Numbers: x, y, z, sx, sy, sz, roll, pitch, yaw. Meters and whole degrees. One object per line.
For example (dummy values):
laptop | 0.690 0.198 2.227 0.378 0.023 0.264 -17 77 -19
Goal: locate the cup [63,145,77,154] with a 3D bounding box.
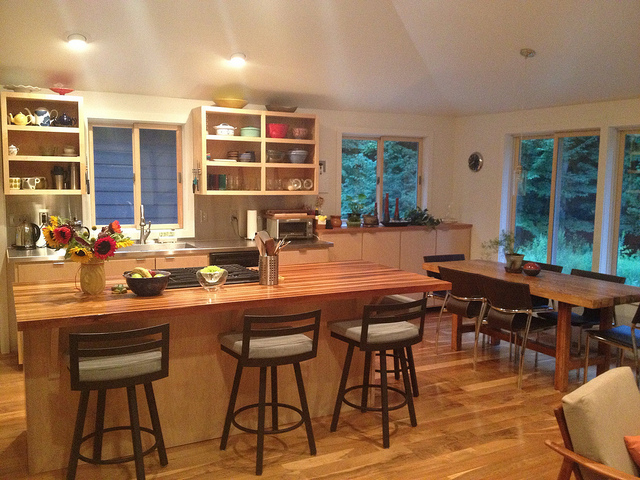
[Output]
cup | -2.750 -0.988 5.320 0.144 0.109 0.138 0 1 0

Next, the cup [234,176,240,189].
cup | -1.028 -0.702 5.972 0.079 0.131 0.038 -5 11 -33

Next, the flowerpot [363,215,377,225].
flowerpot | 0.719 -0.294 6.917 0.140 0.099 0.141 -8 13 -43

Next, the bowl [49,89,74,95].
bowl | -2.806 -1.608 5.202 0.137 0.048 0.135 0 9 0

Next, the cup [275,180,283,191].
cup | -0.525 -0.703 6.181 0.097 0.135 0.065 0 9 -6

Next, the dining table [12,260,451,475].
dining table | -0.781 0.934 3.761 2.652 1.162 1.244 -4 10 -32

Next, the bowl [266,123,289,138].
bowl | -0.593 -1.418 6.201 0.232 0.203 0.339 -8 12 -44

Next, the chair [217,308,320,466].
chair | -0.355 1.007 3.549 0.763 1.088 0.728 -1 10 -12

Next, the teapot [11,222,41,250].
teapot | -3.166 -0.037 5.191 0.304 0.324 0.241 3 2 -31

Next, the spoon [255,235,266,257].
spoon | -0.468 0.041 3.814 0.051 0.214 0.038 -13 -12 12

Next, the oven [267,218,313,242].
oven | -0.375 -0.134 6.137 0.592 0.282 0.333 1 9 -4

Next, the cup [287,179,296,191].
cup | -0.365 -0.712 6.227 0.091 0.128 0.057 -7 14 -39

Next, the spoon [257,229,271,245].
spoon | -0.484 -0.025 4.137 0.092 0.199 0.055 -19 -34 2

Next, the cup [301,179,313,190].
cup | -0.157 -0.721 6.312 0.111 0.123 0.117 3 6 0

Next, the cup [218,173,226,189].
cup | -1.193 -0.707 5.857 0.090 0.168 0.063 0 10 -7

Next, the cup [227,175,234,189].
cup | -1.107 -0.707 5.981 0.078 0.137 0.102 0 9 -9

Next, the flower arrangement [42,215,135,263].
flower arrangement | -1.696 -0.003 3.492 0.455 0.260 0.398 9 4 -18

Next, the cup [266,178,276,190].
cup | -0.643 -0.713 6.168 0.143 0.126 0.078 -8 13 -44

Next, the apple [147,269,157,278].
apple | -1.233 0.251 3.531 0.040 0.036 0.039 6 13 15

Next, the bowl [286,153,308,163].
bowl | -0.286 -1.049 6.261 0.160 0.098 0.161 0 5 0

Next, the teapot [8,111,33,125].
teapot | -3.149 -1.272 5.073 0.206 0.142 0.131 3 2 -11

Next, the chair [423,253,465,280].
chair | 1.580 0.271 6.103 0.366 0.499 0.365 -5 9 -35

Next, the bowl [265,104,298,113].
bowl | -0.504 -1.713 6.241 0.364 0.140 0.401 1 9 0

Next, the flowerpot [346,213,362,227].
flowerpot | 0.500 -0.283 6.787 0.180 0.168 0.179 1 3 -1

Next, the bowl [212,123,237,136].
bowl | -1.176 -1.379 5.979 0.306 0.178 0.363 -1 9 -12

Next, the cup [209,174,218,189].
cup | -1.293 -0.707 5.854 0.099 0.167 0.046 0 10 -9

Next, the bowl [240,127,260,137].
bowl | -0.858 -1.336 6.006 0.152 0.084 0.151 0 7 0

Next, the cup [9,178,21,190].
cup | -3.243 -0.600 5.108 0.108 0.108 0.108 1 0 0

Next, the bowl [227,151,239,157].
bowl | -1.071 -1.063 5.944 0.085 0.080 0.084 2 5 0

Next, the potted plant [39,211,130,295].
potted plant | -2.030 0.132 4.076 0.462 0.685 0.689 9 10 43

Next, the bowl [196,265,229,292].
bowl | -0.796 0.284 3.608 0.207 0.146 0.196 0 1 0

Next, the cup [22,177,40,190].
cup | -3.136 -0.608 5.199 0.137 0.099 0.136 2 -2 0

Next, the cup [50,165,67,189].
cup | -2.876 -0.685 5.308 0.155 0.241 0.112 -4 11 -29

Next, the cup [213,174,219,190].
cup | -1.263 -0.703 5.852 0.069 0.174 0.034 -1 10 -10

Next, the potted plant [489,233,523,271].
potted plant | 2.313 0.149 5.914 0.411 0.582 0.380 -2 10 6

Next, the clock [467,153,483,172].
clock | 2.334 -1.157 7.179 0.058 0.237 0.233 2 27 -35

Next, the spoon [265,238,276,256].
spoon | -0.388 0.053 3.808 0.076 0.129 0.115 6 10 26

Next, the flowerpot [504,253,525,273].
flowerpot | 2.152 0.254 5.304 0.197 0.185 0.196 0 2 -10

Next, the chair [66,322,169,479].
chair | -1.321 1.059 3.139 0.631 1.083 0.617 -3 10 -24

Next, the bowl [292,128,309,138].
bowl | -0.252 -1.390 6.264 0.153 0.094 0.153 -1 4 0

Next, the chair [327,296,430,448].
chair | 0.450 1.036 3.885 0.676 1.112 0.680 -1 0 37

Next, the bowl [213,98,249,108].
bowl | -1.102 -1.673 5.861 0.228 0.054 0.226 2 6 0

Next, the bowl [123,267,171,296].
bowl | -1.262 0.298 3.503 0.297 0.191 0.270 1 9 0

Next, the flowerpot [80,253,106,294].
flowerpot | -1.644 0.260 3.487 0.193 0.278 0.179 8 14 1

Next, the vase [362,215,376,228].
vase | 0.720 -0.263 6.950 0.186 0.160 0.146 0 7 -12
